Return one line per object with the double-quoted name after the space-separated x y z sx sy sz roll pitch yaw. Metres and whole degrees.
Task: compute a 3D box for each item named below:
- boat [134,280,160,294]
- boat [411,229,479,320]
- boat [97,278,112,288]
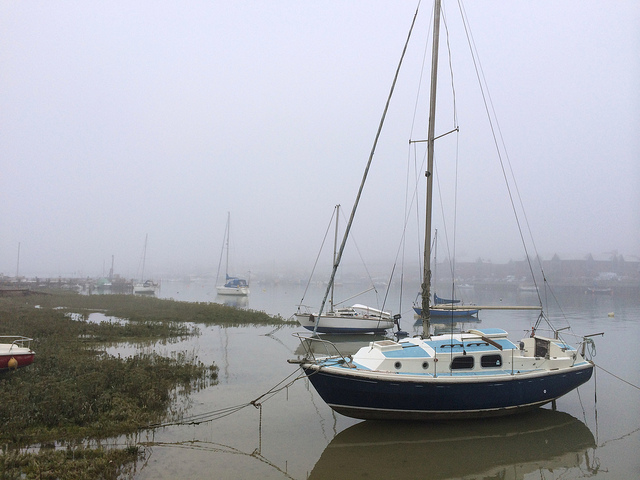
-31.546 8.248 107.812 4.696 2.260 2.198 -10 -7 30 "boat"
12.619 2.905 59.900 6.683 9.628 2.127 -1 -2 1 "boat"
-51.628 10.290 144.488 3.077 2.521 5.855 6 0 -16 "boat"
